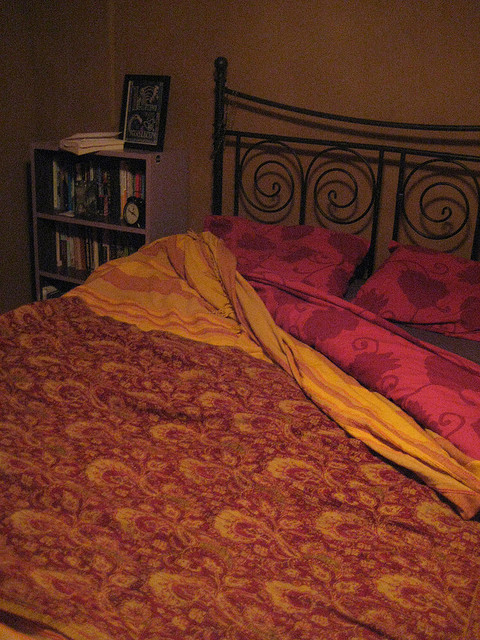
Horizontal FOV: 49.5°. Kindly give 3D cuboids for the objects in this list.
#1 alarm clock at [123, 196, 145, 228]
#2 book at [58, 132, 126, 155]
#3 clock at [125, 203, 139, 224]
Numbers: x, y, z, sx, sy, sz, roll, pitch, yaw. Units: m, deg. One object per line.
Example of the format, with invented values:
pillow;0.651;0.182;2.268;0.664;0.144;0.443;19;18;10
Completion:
alarm clock;-0.526;-0.537;2.602;0.137;0.152;0.048;6;8;29
book;-0.709;-0.855;2.523;0.217;0.077;0.204;16;26;32
clock;-0.535;-0.530;2.584;0.091;0.122;0.063;9;11;42
